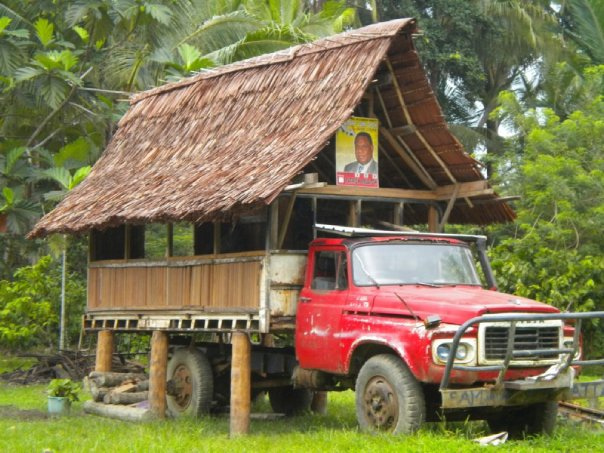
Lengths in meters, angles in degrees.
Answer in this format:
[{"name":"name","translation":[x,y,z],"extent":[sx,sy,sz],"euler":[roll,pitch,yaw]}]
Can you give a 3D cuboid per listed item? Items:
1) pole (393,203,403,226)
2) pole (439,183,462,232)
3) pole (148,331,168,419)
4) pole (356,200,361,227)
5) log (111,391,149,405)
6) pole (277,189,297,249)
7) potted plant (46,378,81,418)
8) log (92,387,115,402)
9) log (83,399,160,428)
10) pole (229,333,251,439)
[{"name":"pole","translation":[2.279,-0.289,22.653],"extent":[0.131,0.553,0.346],"euler":[4,-6,-12]},{"name":"pole","translation":[3.601,-0.523,23.358],"extent":[0.120,1.207,0.154],"euler":[20,9,-20]},{"name":"pole","translation":[-3.378,3.508,22.729],"extent":[0.390,2.135,0.377],"euler":[0,6,-38]},{"name":"pole","translation":[1.280,-0.301,21.868],"extent":[0.080,0.618,0.195],"euler":[1,-5,15]},{"name":"log","translation":[-4.297,4.196,23.761],"extent":[0.746,0.309,0.426],"euler":[4,-3,-30]},{"name":"pole","translation":[-0.383,-0.210,22.026],"extent":[0.136,1.331,0.161],"euler":[2,25,-29]},{"name":"potted plant","translation":[-5.879,4.156,23.622],"extent":[0.645,0.818,0.609],"euler":[6,13,10]},{"name":"log","translation":[-5.000,4.140,23.910],"extent":[0.289,0.281,0.414],"euler":[4,8,43]},{"name":"log","translation":[-4.382,4.441,23.004],"extent":[1.627,0.404,1.658],"euler":[11,0,4]},{"name":"pole","translation":[-1.326,3.402,20.675],"extent":[0.479,2.356,0.520],"euler":[13,-34,-23]}]
